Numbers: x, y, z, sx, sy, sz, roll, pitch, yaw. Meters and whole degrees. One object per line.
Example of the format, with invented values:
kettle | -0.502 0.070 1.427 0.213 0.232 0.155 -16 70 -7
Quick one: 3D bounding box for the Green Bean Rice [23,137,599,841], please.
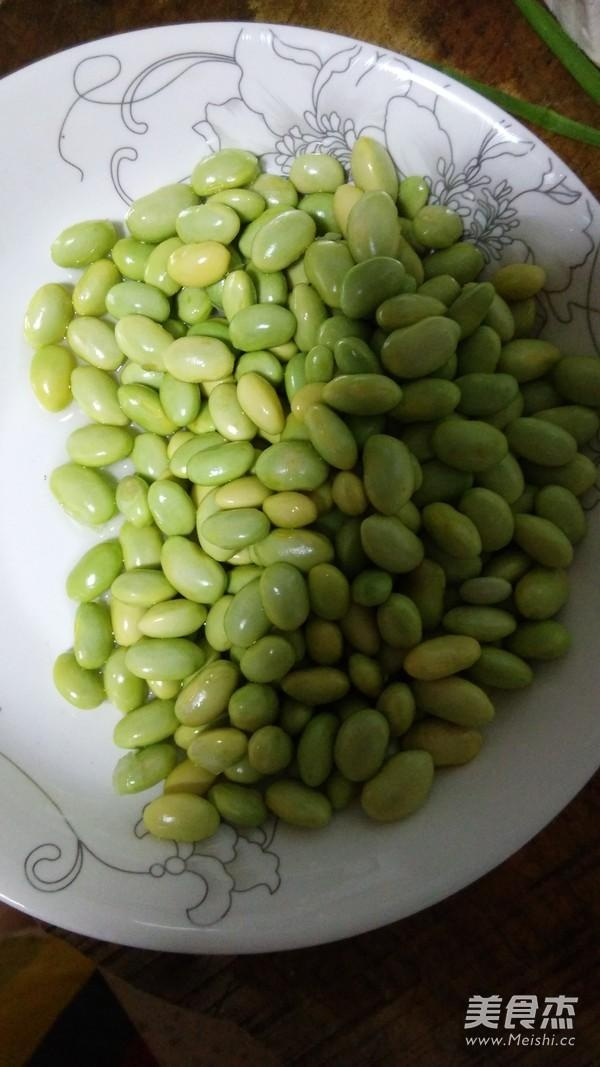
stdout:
Green Bean Rice | 0.036 -0.049 0.986 0.532 0.229 0.564 -32 81 8
